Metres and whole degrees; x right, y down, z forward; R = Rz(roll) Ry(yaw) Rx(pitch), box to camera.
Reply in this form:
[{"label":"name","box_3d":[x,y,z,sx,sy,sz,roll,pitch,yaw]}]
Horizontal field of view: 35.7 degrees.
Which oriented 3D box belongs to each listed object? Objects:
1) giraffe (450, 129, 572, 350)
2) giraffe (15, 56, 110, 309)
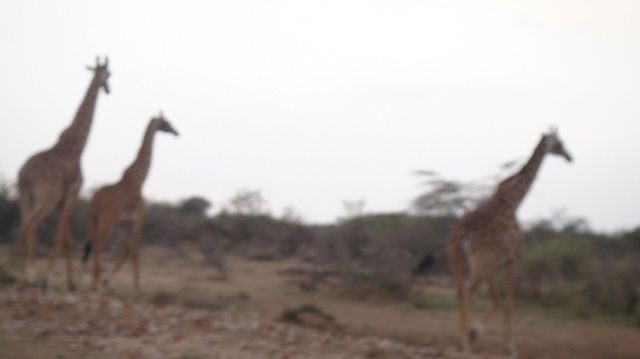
[{"label":"giraffe","box_3d":[4.446,1.567,25.150,2.354,5.295,1.194,1,-14,8]},{"label":"giraffe","box_3d":[-6.968,0.076,26.246,1.888,6.685,1.327,3,-14,-1]}]
